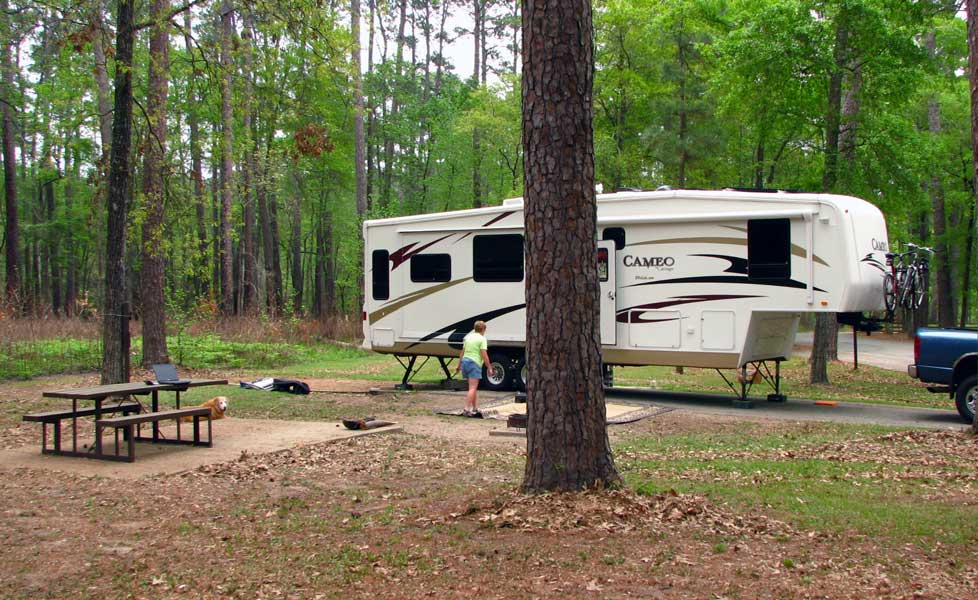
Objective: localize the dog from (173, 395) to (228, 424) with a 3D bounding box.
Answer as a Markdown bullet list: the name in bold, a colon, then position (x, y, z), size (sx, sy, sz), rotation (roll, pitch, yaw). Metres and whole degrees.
- **dog**: position (-6.490, 2.503, 22.397), size (1.942, 0.739, 0.704), rotation (-5, 0, 41)

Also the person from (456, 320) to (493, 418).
- **person**: position (-0.348, 1.647, 24.650), size (0.630, 2.164, 1.575), rotation (1, 6, -1)

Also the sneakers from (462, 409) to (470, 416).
- **sneakers**: position (-0.524, 2.755, 24.096), size (0.166, 0.058, 0.157), rotation (4, 13, 3)

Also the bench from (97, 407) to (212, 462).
- **bench**: position (-6.938, 2.732, 20.601), size (1.253, 0.573, 1.876), rotation (1, 1, 29)
